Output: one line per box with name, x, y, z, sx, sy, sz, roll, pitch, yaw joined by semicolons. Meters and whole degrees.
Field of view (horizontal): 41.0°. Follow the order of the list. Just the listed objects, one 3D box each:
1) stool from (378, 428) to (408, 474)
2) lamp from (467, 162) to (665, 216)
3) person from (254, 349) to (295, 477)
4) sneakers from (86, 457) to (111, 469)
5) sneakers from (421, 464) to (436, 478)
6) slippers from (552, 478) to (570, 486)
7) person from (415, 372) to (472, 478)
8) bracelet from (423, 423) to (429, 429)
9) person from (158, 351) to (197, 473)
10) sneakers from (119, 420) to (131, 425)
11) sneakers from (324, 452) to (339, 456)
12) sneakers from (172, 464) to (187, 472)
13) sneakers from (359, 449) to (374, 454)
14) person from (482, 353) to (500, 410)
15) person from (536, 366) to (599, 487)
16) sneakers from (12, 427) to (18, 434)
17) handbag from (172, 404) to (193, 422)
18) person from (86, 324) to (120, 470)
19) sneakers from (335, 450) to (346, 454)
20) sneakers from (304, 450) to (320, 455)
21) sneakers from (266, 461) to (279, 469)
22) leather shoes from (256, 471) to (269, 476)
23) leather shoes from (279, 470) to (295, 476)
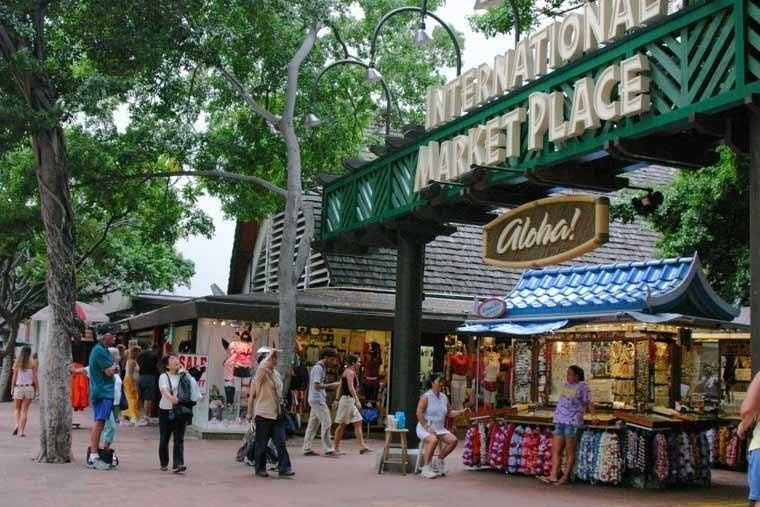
stool;0.347;4.292;22.269;0.840;0.899;0.825;-3;-9;40
lamp;3.371;-1.267;20.194;3.538;0.817;1.848;-3;-14;22
person;-2.275;3.321;21.239;0.864;2.598;0.512;6;-13;-17
sneakers;-5.862;4.340;21.106;0.459;0.266;0.264;4;-13;-9
sneakers;1.009;4.680;21.824;0.167;0.197;0.417;7;-13;-35
slippers;3.852;4.851;21.620;0.345;0.128;0.143;7;-13;-21
person;1.266;3.800;22.381;0.943;2.248;1.329;2;-12;3
bracelet;0.995;3.709;21.902;0.104;0.093;0.025;-2;-6;-40
person;-4.277;3.329;21.290;0.793;2.467;0.793;5;-12;-10
sneakers;-7.310;4.815;29.046;0.371;0.174;0.148;-7;-11;40
sneakers;-1.163;4.701;23.947;0.267;0.120;0.099;1;-4;8
sneakers;-4.164;4.439;21.040;0.124;0.121;0.283;9;-20;-39
sneakers;-0.336;4.762;24.598;0.345;0.145;0.124;-5;0;0
person;3.207;3.668;29.552;0.433;1.622;0.790;1;-12;6
person;4.037;3.675;21.868;1.001;2.515;0.779;0;-12;10
sneakers;-9.164;4.464;25.494;0.122;0.193;0.376;7;-13;-20
handbag;-4.093;3.279;21.157;0.356;0.460;0.492;-8;-13;42
person;-5.908;3.022;21.494;0.648;2.999;1.172;6;-13;-15
sneakers;-0.980;4.714;24.185;0.100;0.109;0.283;-2;-8;32
sneakers;-1.621;4.712;24.076;0.363;0.149;0.119;2;-4;-21
sneakers;-2.304;4.481;21.713;0.243;0.126;0.335;1;-9;-11
leather shoes;-2.445;4.543;21.045;0.198;0.071;0.109;-11;-13;43
leather shoes;-1.953;4.542;21.115;0.310;0.139;0.112;0;-5;-4
